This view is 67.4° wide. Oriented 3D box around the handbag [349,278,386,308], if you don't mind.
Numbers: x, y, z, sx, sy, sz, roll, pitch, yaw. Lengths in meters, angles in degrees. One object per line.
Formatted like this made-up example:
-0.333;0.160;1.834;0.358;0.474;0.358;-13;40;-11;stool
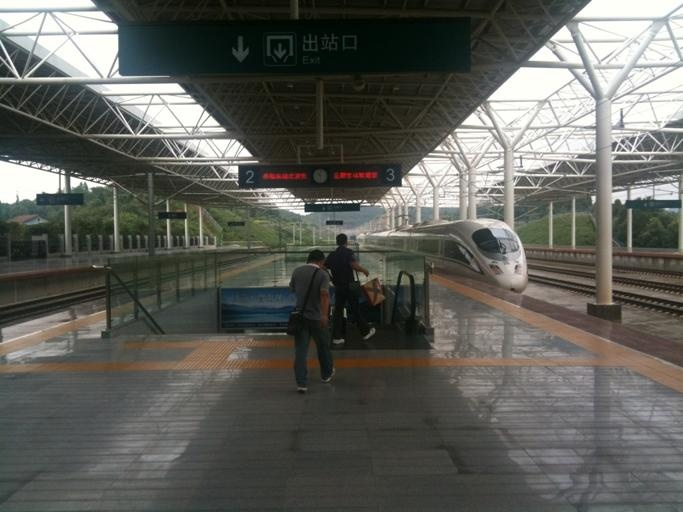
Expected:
0.571;0.755;11.193;0.650;0.785;0.274;-32;-25;-23;handbag

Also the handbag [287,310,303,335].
-0.734;1.067;8.153;0.212;0.373;0.291;3;16;13;handbag

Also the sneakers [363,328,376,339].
0.598;1.617;10.743;0.371;0.107;0.152;-31;-35;33;sneakers
